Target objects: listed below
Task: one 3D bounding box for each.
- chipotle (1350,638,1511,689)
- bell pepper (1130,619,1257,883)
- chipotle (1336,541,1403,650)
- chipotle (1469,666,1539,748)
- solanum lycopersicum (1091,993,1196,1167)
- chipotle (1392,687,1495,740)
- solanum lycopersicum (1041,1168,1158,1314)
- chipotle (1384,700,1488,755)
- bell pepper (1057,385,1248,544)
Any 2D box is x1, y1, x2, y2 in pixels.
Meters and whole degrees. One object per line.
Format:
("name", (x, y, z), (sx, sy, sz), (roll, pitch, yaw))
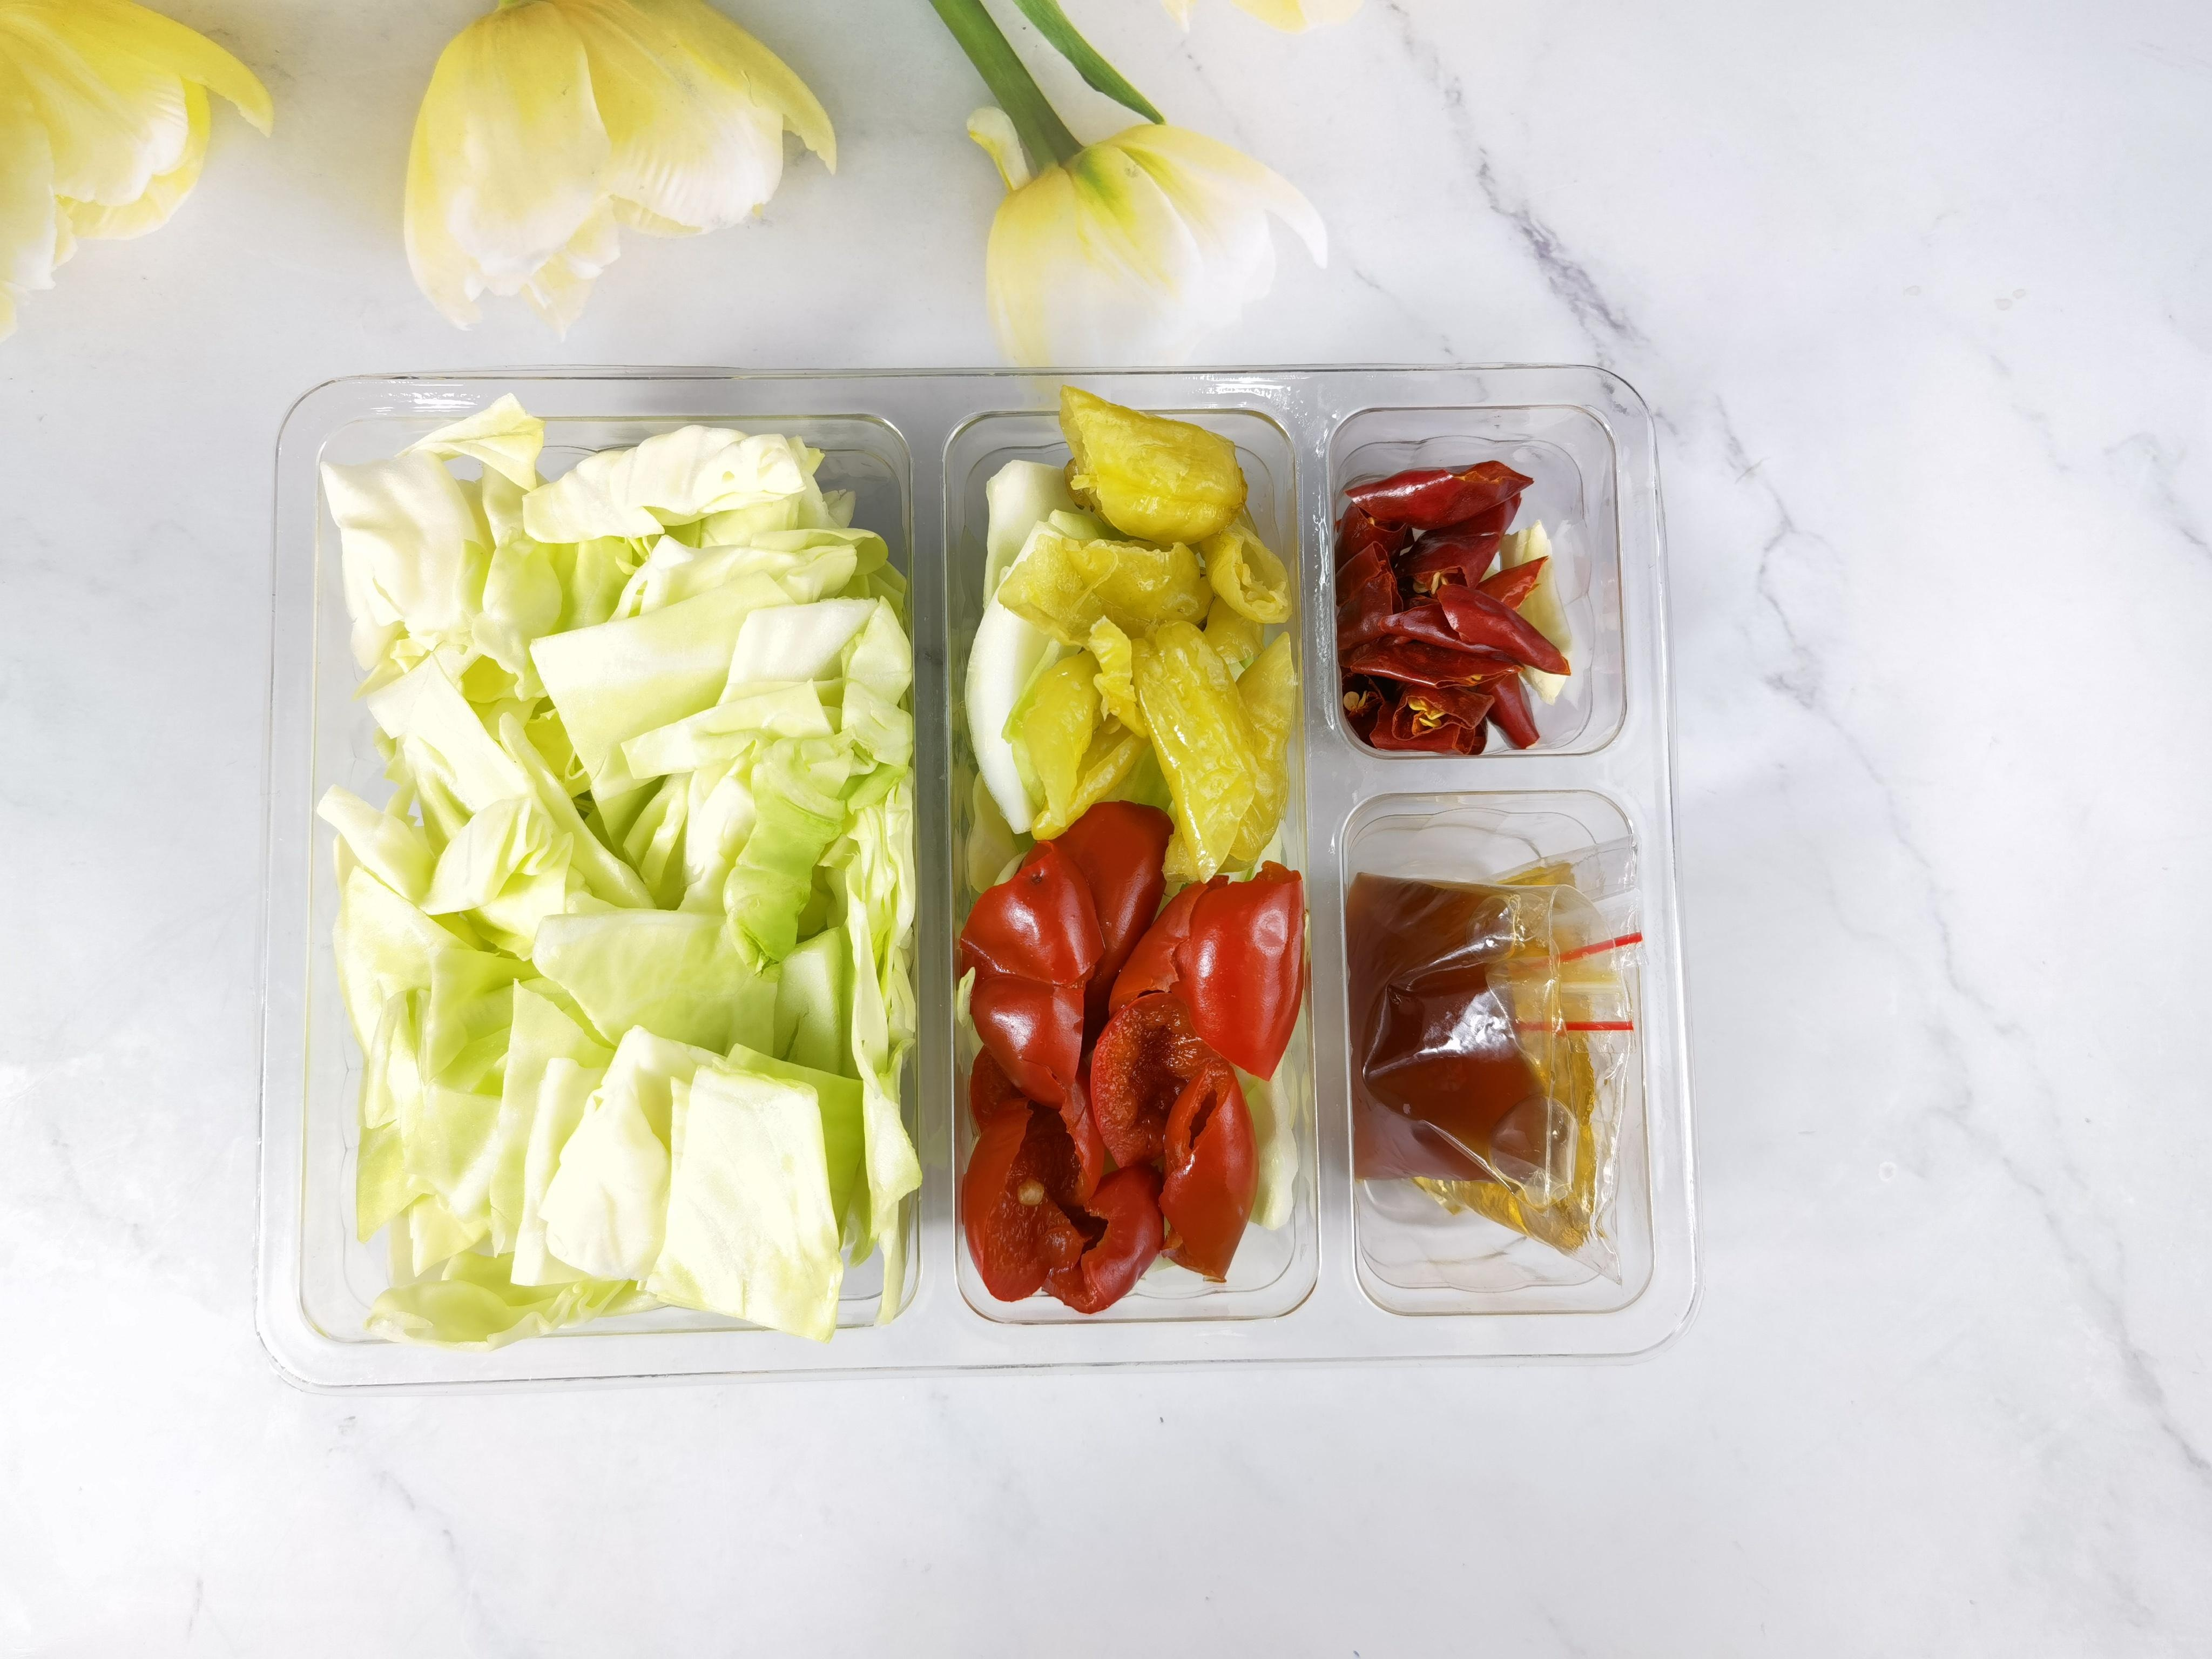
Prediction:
("chipotle", (0.248, -0.125, 1.629), (0.073, 0.022, 0.053), (6, 21, 14))
("bell pepper", (0.063, -0.059, 1.579), (0.093, 0.169, 0.054), (12, 17, 30))
("chipotle", (0.196, -0.182, 1.645), (0.024, 0.074, 0.064), (7, -25, -30))
("chipotle", (0.305, -0.088, 1.662), (0.036, 0.065, 0.023), (-32, 11, -27))
("solanum lycopersicum", (0.026, 0.179, 1.594), (0.088, 0.125, 0.034), (8, -4, -35))
("chipotle", (0.255, -0.091, 1.640), (0.042, 0.024, 0.044), (1, 35, 4))
("solanum lycopersicum", (0.003, 0.301, 1.579), (0.085, 0.100, 0.046), (-5, 17, -26))
("chipotle", (0.245, -0.075, 1.648), (0.053, 0.031, 0.044), (3, -4, -5))
("bell pepper", (0.035, -0.261, 1.629), (0.098, 0.121, 0.126), (-15, 33, -28))
